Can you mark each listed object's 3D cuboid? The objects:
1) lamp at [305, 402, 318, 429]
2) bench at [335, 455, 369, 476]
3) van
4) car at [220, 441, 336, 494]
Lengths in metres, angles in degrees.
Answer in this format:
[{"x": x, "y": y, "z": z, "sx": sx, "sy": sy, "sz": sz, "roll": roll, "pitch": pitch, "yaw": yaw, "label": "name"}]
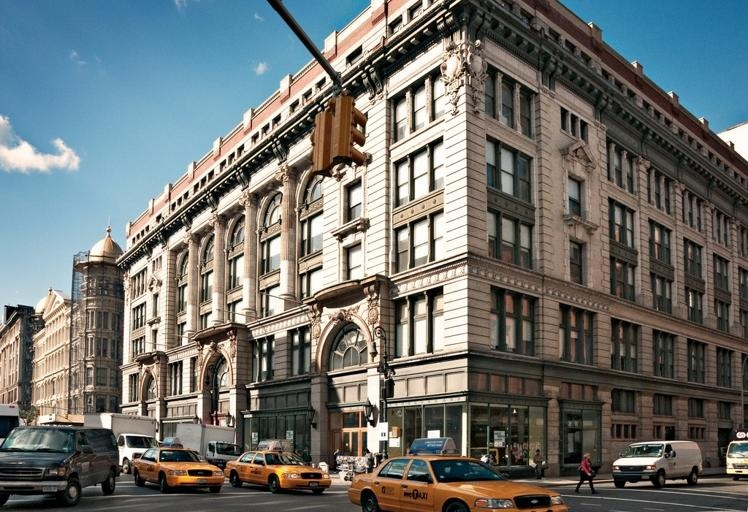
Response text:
[{"x": -5.103, "y": 12.801, "z": 76.614, "sx": 0.595, "sy": 1.823, "sz": 1.159, "roll": -4, "pitch": 3, "yaw": -23, "label": "lamp"}, {"x": -1.672, "y": 15.409, "z": 71.090, "sx": 1.789, "sy": 0.881, "sz": 2.476, "roll": 4, "pitch": -9, "yaw": -26, "label": "bench"}, {"x": 19.881, "y": 14.591, "z": 67.766, "sx": 7.270, "sy": 2.863, "sz": 3.730, "roll": 10, "pitch": -14, "yaw": -44, "label": "van"}, {"x": -6.796, "y": 14.156, "z": 63.299, "sx": 3.376, "sy": 2.846, "sz": 8.629, "roll": 11, "pitch": -15, "yaw": -37, "label": "car"}]
